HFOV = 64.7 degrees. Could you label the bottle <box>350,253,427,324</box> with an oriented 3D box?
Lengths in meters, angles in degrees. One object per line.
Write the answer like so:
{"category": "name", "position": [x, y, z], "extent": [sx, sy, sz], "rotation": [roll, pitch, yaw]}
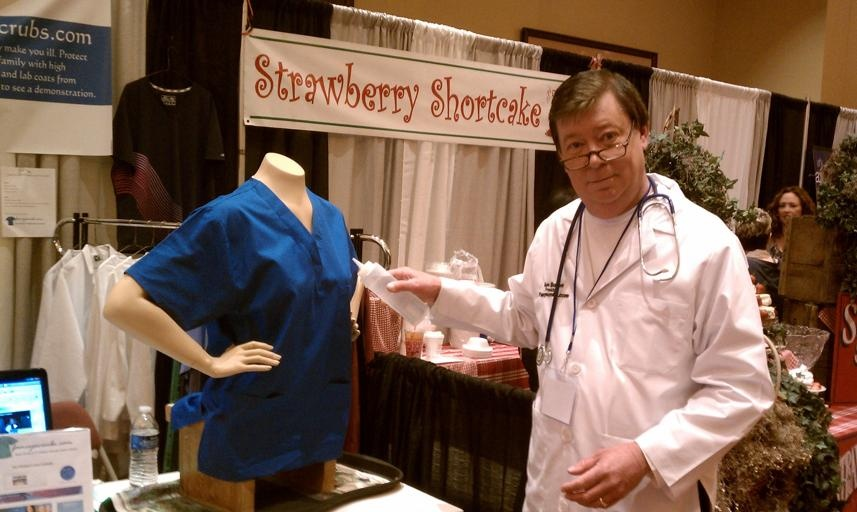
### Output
{"category": "bottle", "position": [-0.203, 0.173, 3.253], "extent": [0.451, 0.130, 0.120], "rotation": [41, -37, -15]}

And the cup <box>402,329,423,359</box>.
{"category": "cup", "position": [-0.100, 0.564, 4.241], "extent": [0.136, 0.170, 0.140], "rotation": [1, -1, 0]}

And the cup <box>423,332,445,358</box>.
{"category": "cup", "position": [0.034, 0.560, 4.259], "extent": [0.137, 0.152, 0.134], "rotation": [-1, -9, 0]}

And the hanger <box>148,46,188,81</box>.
{"category": "hanger", "position": [-1.531, -1.144, 4.075], "extent": [0.188, 0.232, 0.207], "rotation": [-1, -4, -11]}

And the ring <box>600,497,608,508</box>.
{"category": "ring", "position": [0.633, 0.910, 2.459], "extent": [0.010, 0.029, 0.039], "rotation": [-32, 36, -16]}

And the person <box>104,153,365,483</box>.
{"category": "person", "position": [-0.743, 0.247, 2.716], "extent": [0.859, 1.346, 0.413], "rotation": [-1, 2, -9]}
